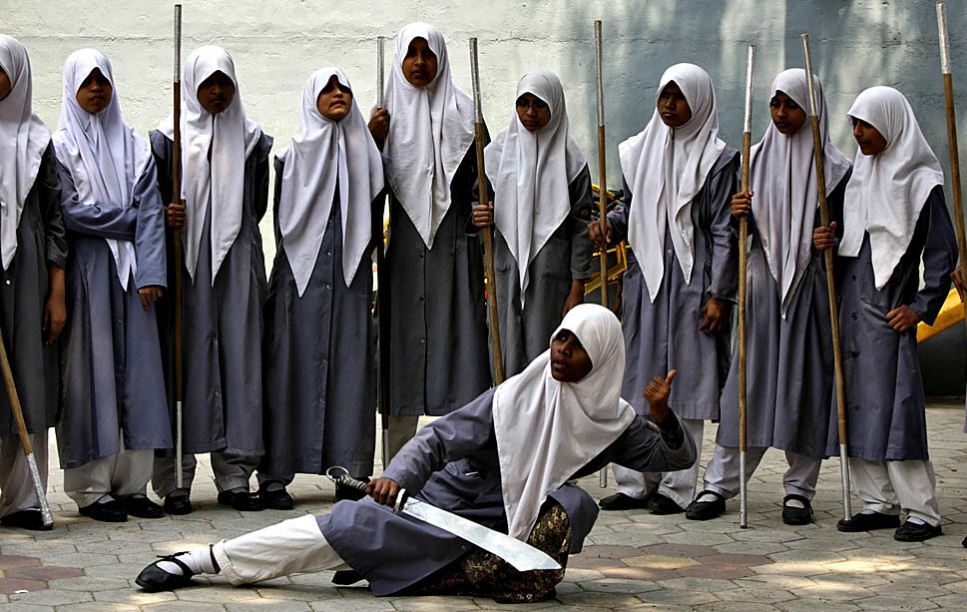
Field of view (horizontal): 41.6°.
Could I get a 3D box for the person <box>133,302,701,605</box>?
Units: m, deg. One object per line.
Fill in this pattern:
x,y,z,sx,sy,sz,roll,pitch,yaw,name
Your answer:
-0.134,0.682,5.959,2.230,1.379,0.511,-1,9,-12,person

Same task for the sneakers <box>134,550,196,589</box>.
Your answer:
-1.483,1.246,5.997,0.300,0.104,0.130,-5,2,-35,sneakers

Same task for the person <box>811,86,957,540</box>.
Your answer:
2.218,0.033,6.905,0.628,2.408,0.678,3,10,13,person
